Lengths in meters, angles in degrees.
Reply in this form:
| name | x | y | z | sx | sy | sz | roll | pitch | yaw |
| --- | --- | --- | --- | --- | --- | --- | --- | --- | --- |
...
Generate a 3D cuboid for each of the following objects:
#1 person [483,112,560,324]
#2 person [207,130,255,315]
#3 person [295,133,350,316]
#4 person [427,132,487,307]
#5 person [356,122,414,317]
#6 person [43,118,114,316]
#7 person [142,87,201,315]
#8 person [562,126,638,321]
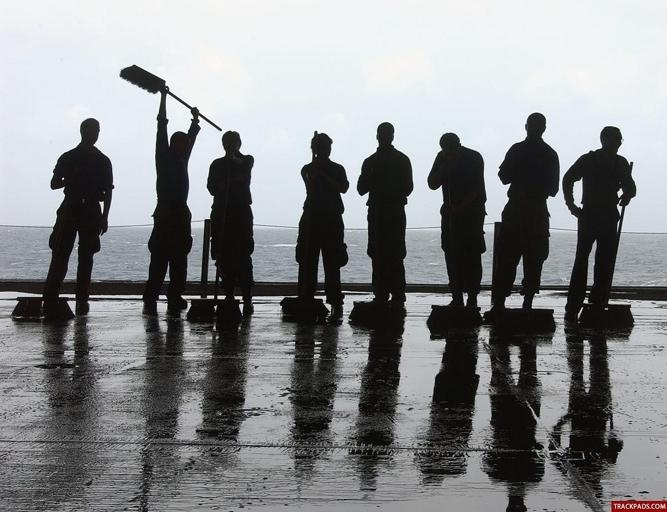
| name | x | y | z | sx | sy | sz | roll | pitch | yaw |
| --- | --- | --- | --- | --- | --- | --- | --- | --- | --- |
| person | 1.747 | -0.381 | 10.379 | 0.625 | 1.846 | 0.734 | 2 | 9 | 10 |
| person | -0.999 | -0.317 | 10.940 | 0.456 | 1.768 | 0.763 | 0 | 8 | -5 |
| person | -0.109 | -0.301 | 10.923 | 0.501 | 1.790 | 0.913 | 0 | 8 | 0 |
| person | 1.159 | -0.353 | 10.635 | 0.536 | 1.593 | 0.498 | 2 | 9 | 11 |
| person | 0.481 | -0.418 | 10.738 | 0.532 | 1.692 | 0.408 | 1 | 8 | 6 |
| person | -2.510 | -0.403 | 10.988 | 0.558 | 1.844 | 0.981 | 1 | 9 | 8 |
| person | -1.625 | -0.554 | 11.208 | 0.565 | 2.224 | 0.827 | 1 | 8 | 2 |
| person | 2.490 | -0.316 | 10.600 | 0.666 | 1.783 | 0.563 | 2 | 9 | 10 |
